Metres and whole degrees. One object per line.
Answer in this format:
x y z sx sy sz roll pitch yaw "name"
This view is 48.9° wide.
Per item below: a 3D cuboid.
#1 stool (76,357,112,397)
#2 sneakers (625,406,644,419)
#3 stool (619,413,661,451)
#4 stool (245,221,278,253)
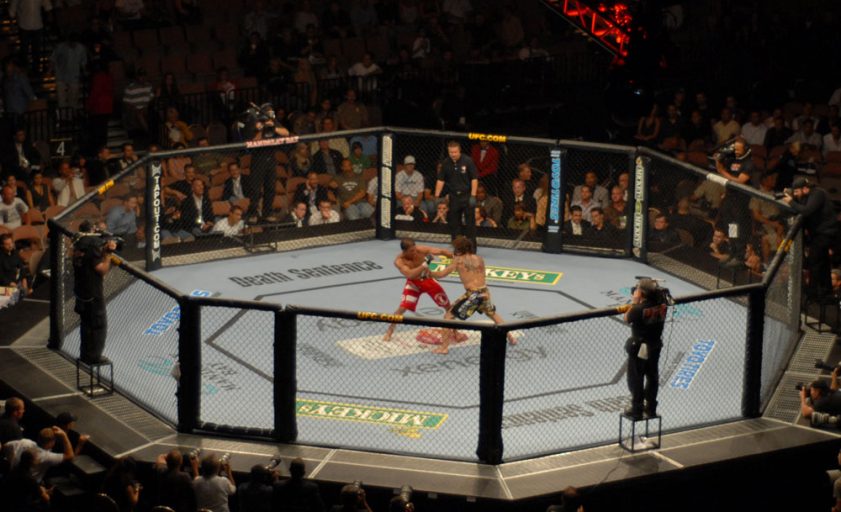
-5.385 2.015 15.171 0.487 0.516 0.628 -5 12 -37 "stool"
3.166 2.336 13.640 0.237 0.120 0.217 0 4 18 "sneakers"
3.263 2.642 13.735 0.643 0.501 0.442 -4 8 -22 "stool"
-3.483 -0.423 20.168 0.889 0.695 0.660 -4 7 -41 "stool"
